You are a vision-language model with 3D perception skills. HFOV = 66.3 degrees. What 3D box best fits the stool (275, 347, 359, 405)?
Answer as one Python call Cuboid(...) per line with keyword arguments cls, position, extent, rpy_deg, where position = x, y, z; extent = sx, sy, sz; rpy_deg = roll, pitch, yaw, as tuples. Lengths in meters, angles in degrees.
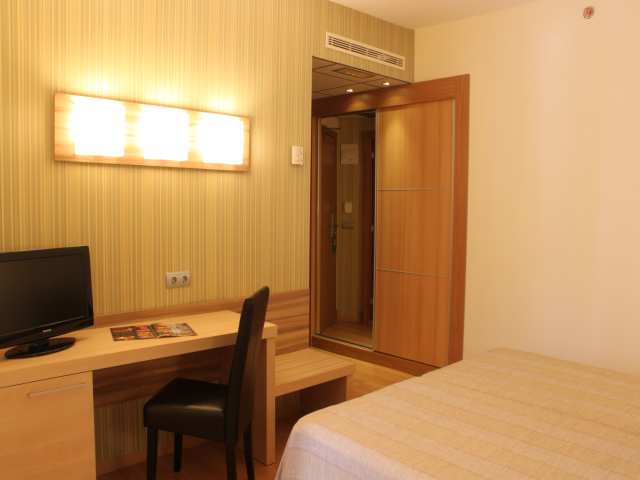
Cuboid(cls="stool", position=(-0.101, 0.949, 3.534), extent=(0.388, 0.321, 0.514), rpy_deg=(1, -1, -44))
